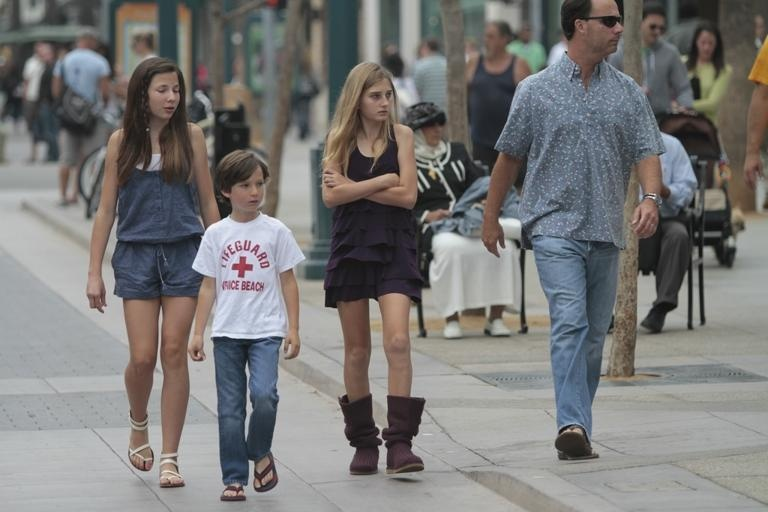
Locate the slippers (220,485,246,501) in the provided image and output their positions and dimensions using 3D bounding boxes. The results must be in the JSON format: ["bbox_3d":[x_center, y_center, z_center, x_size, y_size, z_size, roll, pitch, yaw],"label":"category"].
[{"bbox_3d":[-1.046,1.629,11.525,0.112,0.065,0.199,0,1,-5],"label":"slippers"}]

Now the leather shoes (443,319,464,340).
[{"bbox_3d":[0.624,0.656,15.004,0.181,0.144,0.363,-1,1,-2],"label":"leather shoes"}]

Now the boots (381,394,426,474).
[{"bbox_3d":[0.139,1.266,11.775,0.302,0.594,0.249,-1,12,8],"label":"boots"}]

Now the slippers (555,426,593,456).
[{"bbox_3d":[1.340,1.299,11.723,0.255,0.267,0.171,-1,12,7],"label":"slippers"}]

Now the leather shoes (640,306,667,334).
[{"bbox_3d":[2.431,0.563,14.918,0.128,0.255,0.382,10,0,45],"label":"leather shoes"}]

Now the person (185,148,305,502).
[{"bbox_3d":[-0.971,0.449,11.591,0.864,2.389,0.677,1,-4,-11],"label":"person"}]

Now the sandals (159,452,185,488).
[{"bbox_3d":[-1.508,1.486,11.771,0.174,0.238,0.182,-4,12,-7],"label":"sandals"}]

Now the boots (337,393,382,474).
[{"bbox_3d":[-0.157,1.274,11.894,0.342,0.659,0.527,-6,1,0],"label":"boots"}]

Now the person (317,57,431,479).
[{"bbox_3d":[-0.033,0.062,11.876,0.804,2.895,1.234,1,-2,-36],"label":"person"}]
